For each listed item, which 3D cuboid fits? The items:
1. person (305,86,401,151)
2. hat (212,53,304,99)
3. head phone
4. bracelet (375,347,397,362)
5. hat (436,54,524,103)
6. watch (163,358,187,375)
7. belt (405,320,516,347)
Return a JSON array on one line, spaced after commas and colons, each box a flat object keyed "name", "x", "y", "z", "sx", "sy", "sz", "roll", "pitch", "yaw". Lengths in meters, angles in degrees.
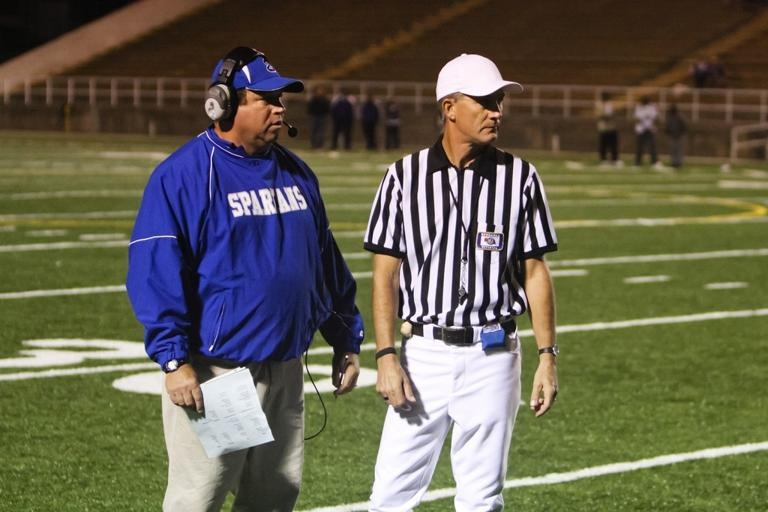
[{"name": "person", "x": -0.598, "y": -2.923, "z": 27.791, "sx": 1.669, "sy": 1.059, "sz": 0.266, "roll": 3, "pitch": 23, "yaw": 4}, {"name": "hat", "x": -0.738, "y": -1.079, "z": 8.020, "sx": 0.436, "sy": 0.208, "sz": 0.264, "roll": -4, "pitch": 1, "yaw": 6}, {"name": "head phone", "x": -0.915, "y": -1.093, "z": 8.081, "sx": 0.187, "sy": 0.460, "sz": 0.505, "roll": 20, "pitch": 18, "yaw": 5}, {"name": "bracelet", "x": 0.011, "y": 0.584, "z": 8.083, "sx": 0.116, "sy": 0.092, "sz": 0.112, "roll": 1, "pitch": 5, "yaw": 2}, {"name": "hat", "x": 0.569, "y": -1.088, "z": 8.110, "sx": 0.412, "sy": 0.230, "sz": 0.304, "roll": -7, "pitch": 2, "yaw": 30}, {"name": "watch", "x": -1.205, "y": 0.636, "z": 7.763, "sx": 0.090, "sy": 0.095, "sz": 0.087, "roll": 42, "pitch": -13, "yaw": 4}, {"name": "belt", "x": 0.454, "y": 0.460, "z": 8.108, "sx": 0.674, "sy": 0.160, "sz": 0.149, "roll": 1, "pitch": 5, "yaw": 4}]
